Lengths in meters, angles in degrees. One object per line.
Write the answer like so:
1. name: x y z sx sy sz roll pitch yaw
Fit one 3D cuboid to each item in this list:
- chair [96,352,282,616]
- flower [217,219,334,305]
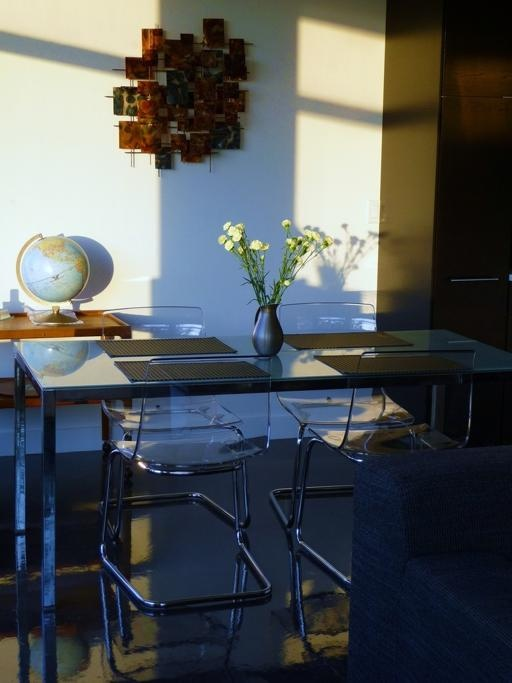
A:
1. chair: -0.265 0.428 2.295 0.524 0.643 0.819 1 5 -22
2. flower: 0.067 -0.405 3.183 0.559 0.423 0.517 -8 16 -43
